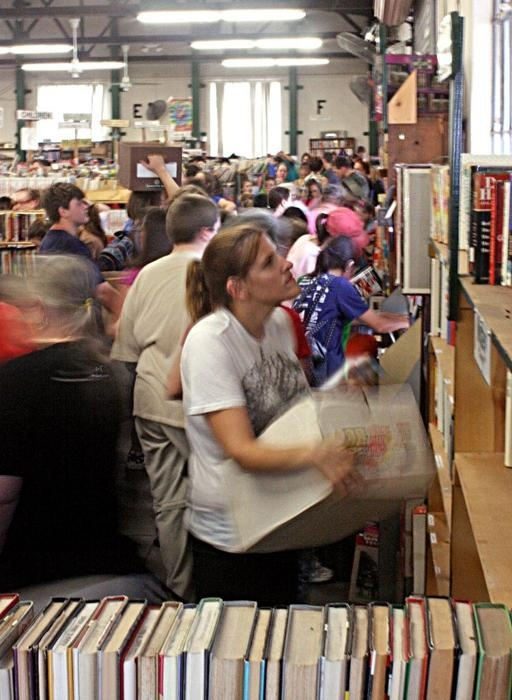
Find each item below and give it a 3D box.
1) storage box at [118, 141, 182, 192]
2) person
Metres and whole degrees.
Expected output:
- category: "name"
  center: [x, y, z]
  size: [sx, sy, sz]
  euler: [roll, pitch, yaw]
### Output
- category: "storage box"
  center: [-0.701, -1.150, 3.738]
  size: [0.356, 0.259, 0.336]
  euler: [-1, 9, -8]
- category: "person"
  center: [-0.068, 0.061, 1.782]
  size: [0.899, 1.694, 0.734]
  euler: [-7, 11, -35]
